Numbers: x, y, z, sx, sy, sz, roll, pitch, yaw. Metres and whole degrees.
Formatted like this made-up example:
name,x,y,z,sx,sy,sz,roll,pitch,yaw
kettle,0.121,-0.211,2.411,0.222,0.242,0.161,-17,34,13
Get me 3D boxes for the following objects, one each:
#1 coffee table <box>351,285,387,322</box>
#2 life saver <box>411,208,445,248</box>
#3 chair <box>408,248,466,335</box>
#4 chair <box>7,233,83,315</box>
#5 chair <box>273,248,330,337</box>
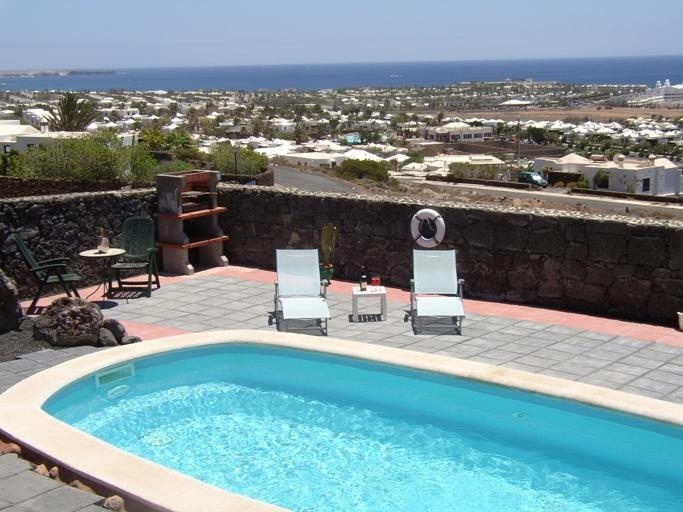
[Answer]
name,x,y,z,sx,sy,sz,roll,pitch,yaw
coffee table,0.441,0.747,8.305,0.771,0.487,0.346,0,4,-2
life saver,1.479,-0.411,9.399,0.177,0.548,0.647,29,1,-19
chair,1.427,0.613,7.770,1.037,0.725,1.316,0,17,-1
chair,-4.577,0.220,8.190,0.814,1.149,1.406,-5,13,-31
chair,-0.595,0.541,7.869,1.044,0.769,1.356,-1,16,-11
